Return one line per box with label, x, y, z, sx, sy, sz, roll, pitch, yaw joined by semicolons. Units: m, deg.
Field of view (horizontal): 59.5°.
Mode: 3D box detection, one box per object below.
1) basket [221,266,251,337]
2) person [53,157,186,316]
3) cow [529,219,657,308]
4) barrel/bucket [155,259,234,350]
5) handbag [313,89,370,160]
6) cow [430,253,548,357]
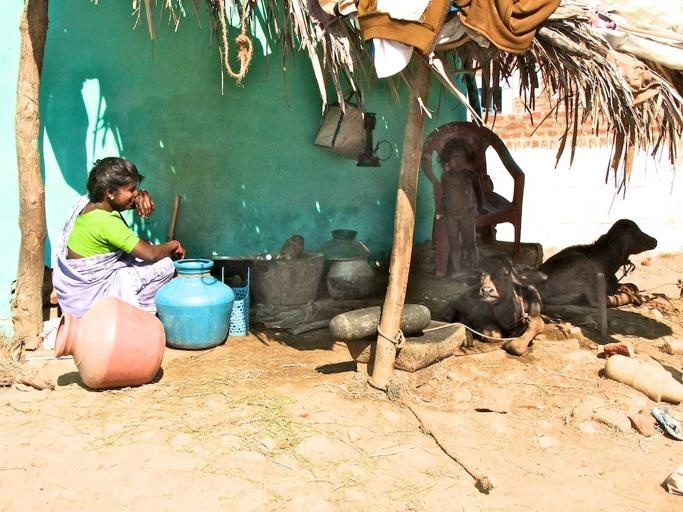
basket;-1.142;0.506;6.489;0.211;0.609;0.629;-2;12;-10
person;-2.183;-0.166;6.009;1.093;1.525;1.293;25;27;30
cow;2.886;0.100;6.900;1.364;0.970;0.924;0;8;13
barrel/bucket;-1.514;0.490;6.000;0.834;0.843;0.861;-1;7;0
handbag;0.005;-1.651;7.891;0.502;0.718;0.533;12;15;42
cow;1.634;0.486;6.183;0.967;0.881;1.634;-2;-2;0
